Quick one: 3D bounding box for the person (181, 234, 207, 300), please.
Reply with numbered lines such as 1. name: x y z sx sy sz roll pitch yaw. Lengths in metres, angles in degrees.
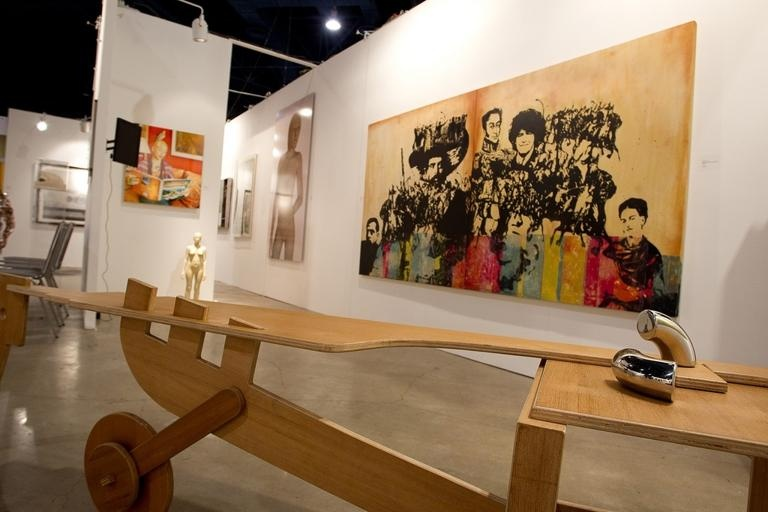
1. person: -2.800 0.170 7.302 0.296 1.029 0.839 1 10 -19
